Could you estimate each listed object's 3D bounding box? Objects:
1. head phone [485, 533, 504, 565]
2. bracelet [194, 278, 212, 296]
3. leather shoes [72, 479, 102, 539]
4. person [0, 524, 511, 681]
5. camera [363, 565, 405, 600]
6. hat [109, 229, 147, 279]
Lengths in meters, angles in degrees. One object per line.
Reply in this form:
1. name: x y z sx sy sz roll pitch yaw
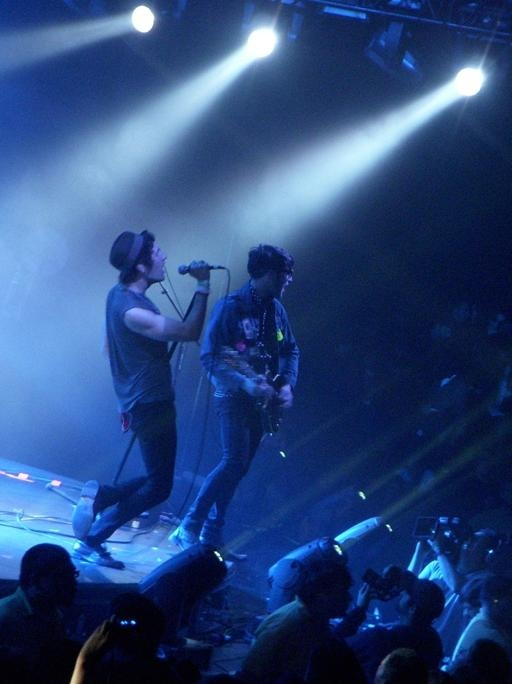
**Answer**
1. head phone: 1.769 1.530 5.023 0.101 0.236 0.195 15 -17 3
2. bracelet: -0.329 -0.337 4.110 0.133 0.118 0.100 2 -10 -6
3. leather shoes: -0.950 0.962 3.926 0.143 0.333 0.144 13 -31 2
4. person: -0.008 1.352 3.538 2.571 0.643 0.547 9 -29 -17
5. camera: 0.720 1.344 3.821 0.215 0.211 0.052 -30 3 2
6. hat: -0.789 -0.550 4.185 0.216 0.254 0.139 2 -21 40
